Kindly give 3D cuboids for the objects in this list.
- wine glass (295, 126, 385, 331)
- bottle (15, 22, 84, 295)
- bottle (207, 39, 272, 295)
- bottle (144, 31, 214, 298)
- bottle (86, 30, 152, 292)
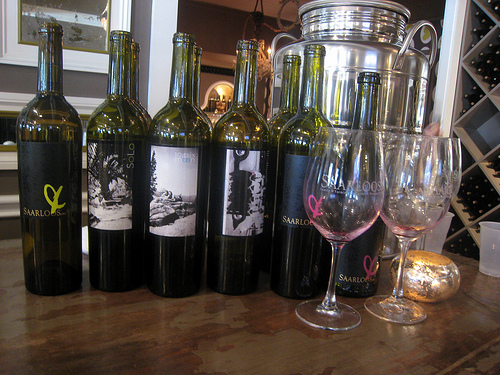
[{"bbox_3d":[0.141,0.065,0.732,0.123,0.321,0.098,-8,15,-36],"label":"wine glass"},{"bbox_3d":[-0.331,-0.040,0.739,0.102,0.441,0.066,-1,12,-9],"label":"bottle"},{"bbox_3d":[-0.021,-0.029,0.784,0.107,0.437,0.077,2,12,1],"label":"bottle"},{"bbox_3d":[-0.124,-0.034,0.764,0.116,0.442,0.078,0,12,-6],"label":"bottle"},{"bbox_3d":[-0.226,-0.039,0.762,0.104,0.436,0.066,-2,12,-13],"label":"bottle"}]
